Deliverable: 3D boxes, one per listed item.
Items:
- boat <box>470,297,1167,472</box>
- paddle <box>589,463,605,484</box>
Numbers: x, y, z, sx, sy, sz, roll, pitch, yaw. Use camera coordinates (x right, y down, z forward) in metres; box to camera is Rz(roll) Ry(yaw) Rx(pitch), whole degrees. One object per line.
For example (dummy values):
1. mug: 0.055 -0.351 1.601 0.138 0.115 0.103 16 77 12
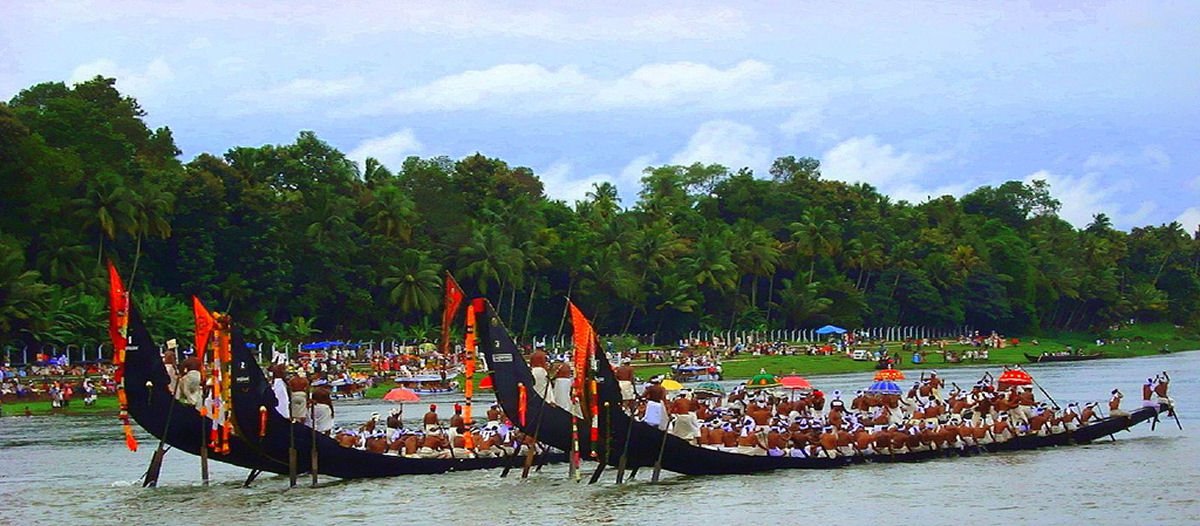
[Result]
1. boat: 19.360 11.760 126.454 68.353 13.505 19.590 0 0 17
2. paddle: -0.281 16.800 102.406 2.679 0.404 0.206 -44 10 32
